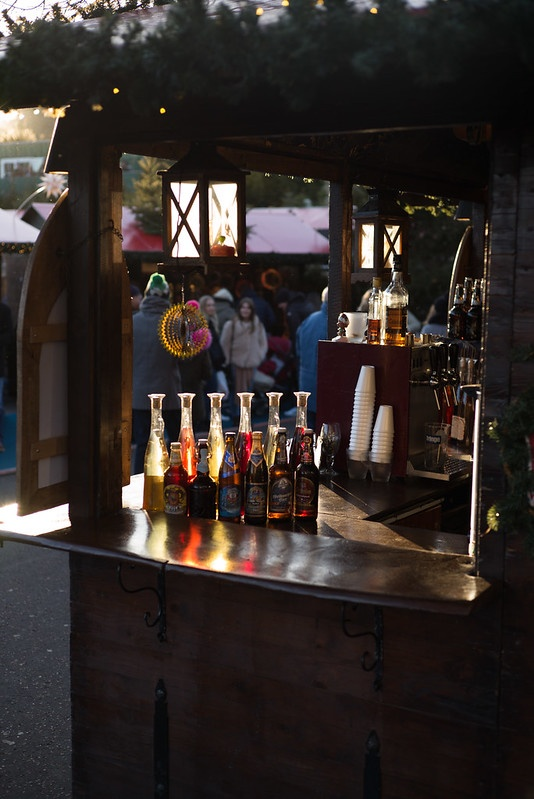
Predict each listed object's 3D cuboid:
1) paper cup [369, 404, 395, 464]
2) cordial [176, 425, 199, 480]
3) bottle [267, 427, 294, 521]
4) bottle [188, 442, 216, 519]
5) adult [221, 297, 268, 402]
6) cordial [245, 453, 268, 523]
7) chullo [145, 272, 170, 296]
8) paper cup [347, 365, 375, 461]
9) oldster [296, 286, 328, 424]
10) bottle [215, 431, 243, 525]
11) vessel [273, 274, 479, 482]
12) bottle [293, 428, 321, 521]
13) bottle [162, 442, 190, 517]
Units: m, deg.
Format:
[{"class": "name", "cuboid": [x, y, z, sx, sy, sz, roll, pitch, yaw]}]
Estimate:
[{"class": "paper cup", "cuboid": [0.547, 0.169, 3.808, 0.109, 0.269, 0.082, 2, 2, 7]}, {"class": "cordial", "cuboid": [-0.302, 0.189, 2.986, 0.089, 0.342, 0.088, -1, 35, -9]}, {"class": "bottle", "cuboid": [0.047, 0.267, 2.754, 0.081, 0.319, 0.083, 2, 2, 0]}, {"class": "bottle", "cuboid": [-0.219, 0.274, 2.735, 0.092, 0.277, 0.231, 1, 2, -4]}, {"class": "adult", "cuboid": [-0.289, -0.604, 10.291, 0.569, 1.424, 0.429, -8, 32, -12]}, {"class": "cordial", "cuboid": [-0.038, 0.305, 2.737, 0.079, 0.245, 0.068, 1, 2, -2]}, {"class": "chullo", "cuboid": [-0.913, -0.943, 6.591, 0.181, 0.199, 0.516, 1, 2, -10]}, {"class": "paper cup", "cuboid": [0.457, 0.071, 3.866, 0.118, 0.458, 0.073, 2, 2, 2]}, {"class": "oldster", "cuboid": [0.469, -0.326, 7.535, 0.278, 1.054, 0.366, 6, 13, -12]}, {"class": "bottle", "cuboid": [-0.126, 0.269, 2.720, 0.074, 0.303, 0.083, 1, 2, -5]}, {"class": "vessel", "cuboid": [0.641, -0.047, 4.225, 0.729, 0.701, 0.843, 0, 0, 38]}, {"class": "bottle", "cuboid": [0.137, 0.270, 2.809, 0.084, 0.334, 0.204, 2, 2, 1]}, {"class": "bottle", "cuboid": [-0.310, 0.274, 2.734, 0.087, 0.261, 0.156, 1, 2, -9]}]
